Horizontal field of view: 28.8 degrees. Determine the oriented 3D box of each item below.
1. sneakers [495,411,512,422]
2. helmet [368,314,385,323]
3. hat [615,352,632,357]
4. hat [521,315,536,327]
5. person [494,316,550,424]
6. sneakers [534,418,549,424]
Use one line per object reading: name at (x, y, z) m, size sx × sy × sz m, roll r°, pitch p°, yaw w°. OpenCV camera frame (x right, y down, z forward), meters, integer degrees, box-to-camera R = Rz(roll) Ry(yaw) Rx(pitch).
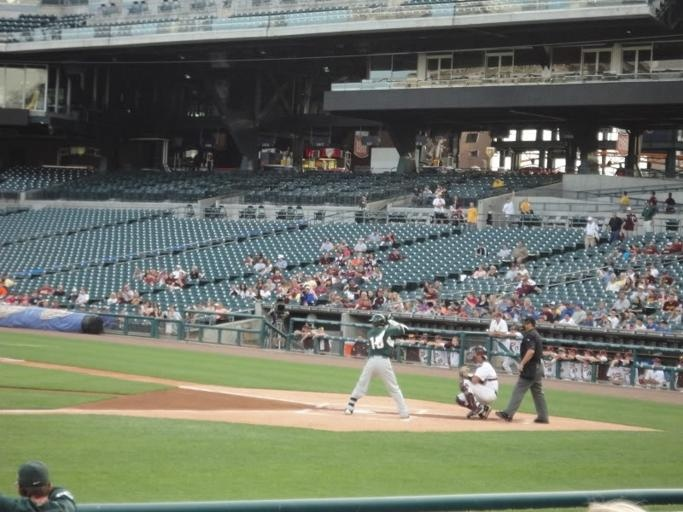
sneakers at (4.624, 4.601, 38.476) m, size 0.543 × 0.247 × 0.205 m, roll 31°, pitch 3°, yaw 7°
helmet at (1.008, 1.788, 38.550) m, size 0.358 × 0.254 × 0.274 m, roll -2°, pitch 1°, yaw 2°
hat at (9.148, 3.191, 43.516) m, size 0.471 × 0.175 × 0.111 m, roll 7°, pitch 12°, yaw 16°
hat at (5.300, 1.889, 38.245) m, size 0.242 × 0.335 × 0.306 m, roll 14°, pitch -35°, yaw -42°
person at (5.307, 3.279, 38.385) m, size 1.398 × 3.101 × 0.757 m, roll 4°, pitch 11°, yaw 3°
sneakers at (5.699, 4.745, 38.404) m, size 0.271 × 0.111 × 0.189 m, roll -5°, pitch 2°, yaw 12°
